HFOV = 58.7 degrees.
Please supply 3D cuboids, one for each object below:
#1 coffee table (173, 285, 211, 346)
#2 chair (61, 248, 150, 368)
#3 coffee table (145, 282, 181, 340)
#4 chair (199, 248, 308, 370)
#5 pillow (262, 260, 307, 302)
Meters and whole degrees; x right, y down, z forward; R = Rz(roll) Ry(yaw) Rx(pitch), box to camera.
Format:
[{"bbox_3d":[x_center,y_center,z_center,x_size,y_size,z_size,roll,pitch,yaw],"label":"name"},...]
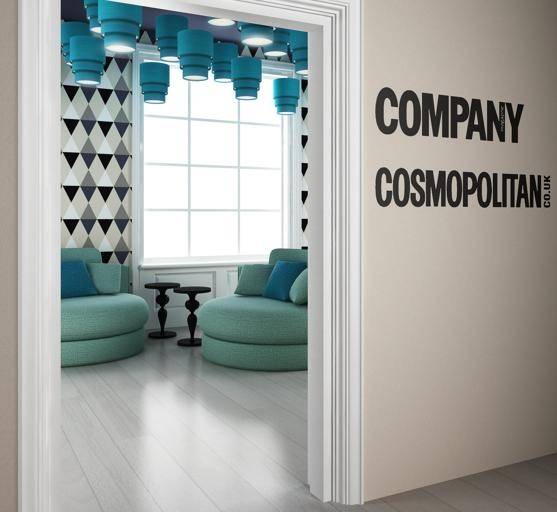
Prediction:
[{"bbox_3d":[-0.951,0.666,5.458,0.419,0.611,0.424,0,2,-30],"label":"coffee table"},{"bbox_3d":[-1.832,0.492,4.979,0.993,0.959,0.984,0,0,-44],"label":"chair"},{"bbox_3d":[-1.345,0.626,5.757,0.409,0.602,0.418,-5,-6,43],"label":"coffee table"},{"bbox_3d":[-0.096,0.450,4.682,1.009,0.981,1.013,6,-7,-34],"label":"chair"},{"bbox_3d":[0.052,0.230,4.946,0.117,0.397,0.380,25,-12,-40],"label":"pillow"}]
